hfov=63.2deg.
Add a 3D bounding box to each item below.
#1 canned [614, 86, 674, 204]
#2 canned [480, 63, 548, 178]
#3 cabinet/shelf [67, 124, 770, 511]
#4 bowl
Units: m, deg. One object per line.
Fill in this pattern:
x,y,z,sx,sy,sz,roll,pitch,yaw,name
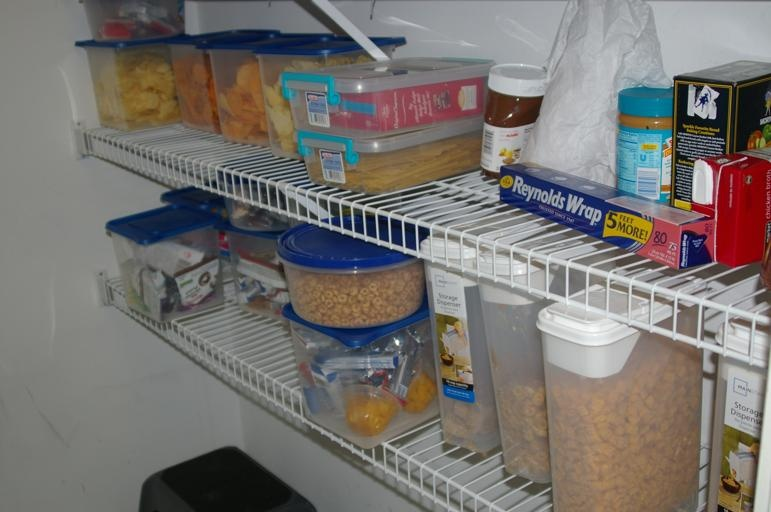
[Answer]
0.370,-0.147,0.897,0.084,0.142,0.086,5,11,27,canned
0.204,-0.222,1.061,0.103,0.158,0.099,-4,26,-13,canned
0.025,0.095,1.132,1.030,0.331,0.316,23,33,40,cabinet/shelf
-0.080,-0.011,1.138,0.218,0.106,0.224,-2,21,1,bowl
